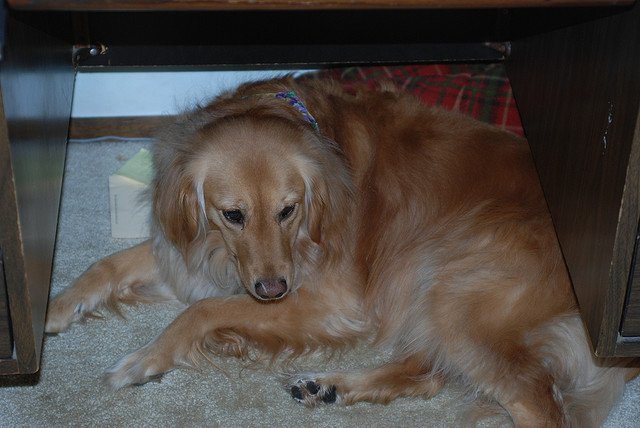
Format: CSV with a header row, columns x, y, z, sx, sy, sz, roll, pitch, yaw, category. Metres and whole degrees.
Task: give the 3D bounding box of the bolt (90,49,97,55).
x,y,z,sx,sy,sz,roll,pitch,yaw,category
-1.107,-0.799,2.854,0.023,0.026,0.006,5,0,-7,bolt
